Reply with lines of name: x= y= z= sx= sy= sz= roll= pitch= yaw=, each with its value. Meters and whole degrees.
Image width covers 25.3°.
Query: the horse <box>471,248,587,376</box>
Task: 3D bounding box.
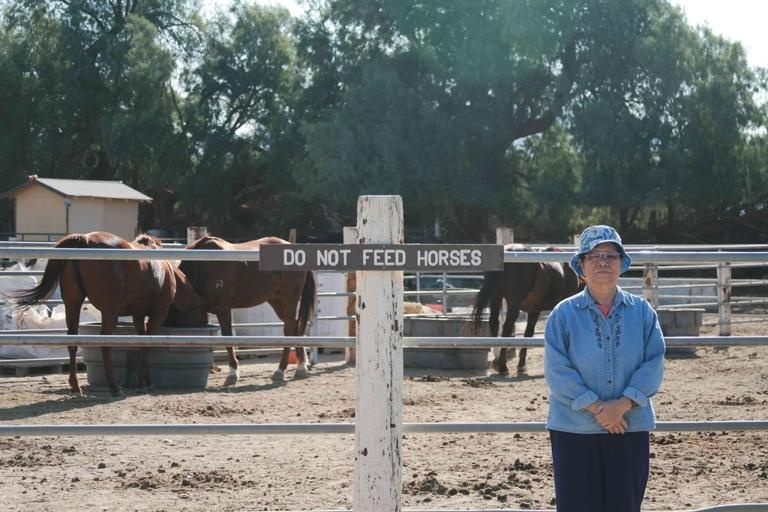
horse: x=6.627 y=2.117 z=74.508 sx=2.275 sy=5.871 sz=8.976 roll=3 pitch=-2 yaw=38
